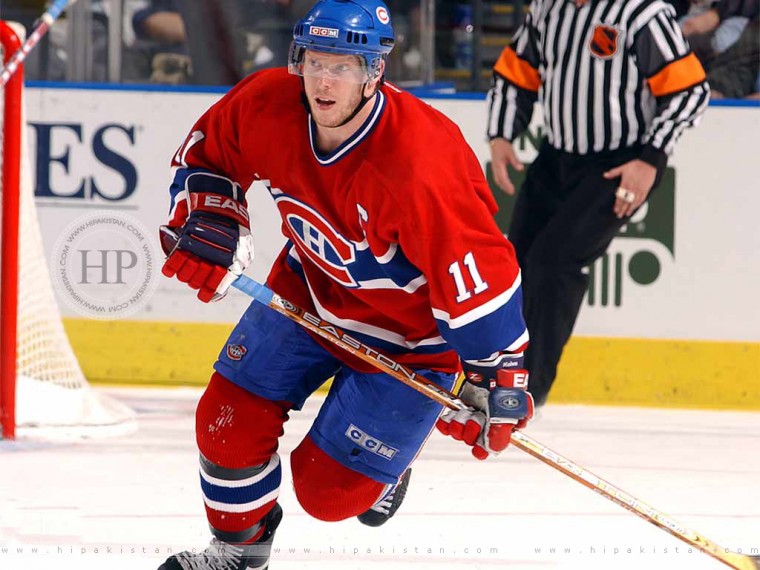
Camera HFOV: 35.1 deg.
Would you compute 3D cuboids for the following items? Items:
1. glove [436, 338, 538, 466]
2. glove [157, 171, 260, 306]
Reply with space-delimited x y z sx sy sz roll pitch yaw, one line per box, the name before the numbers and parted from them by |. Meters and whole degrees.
glove | 0.381 0.390 4.124 0.388 0.292 0.189 -30 14 21
glove | -0.619 -0.158 4.285 0.355 0.445 0.187 22 -25 -12
